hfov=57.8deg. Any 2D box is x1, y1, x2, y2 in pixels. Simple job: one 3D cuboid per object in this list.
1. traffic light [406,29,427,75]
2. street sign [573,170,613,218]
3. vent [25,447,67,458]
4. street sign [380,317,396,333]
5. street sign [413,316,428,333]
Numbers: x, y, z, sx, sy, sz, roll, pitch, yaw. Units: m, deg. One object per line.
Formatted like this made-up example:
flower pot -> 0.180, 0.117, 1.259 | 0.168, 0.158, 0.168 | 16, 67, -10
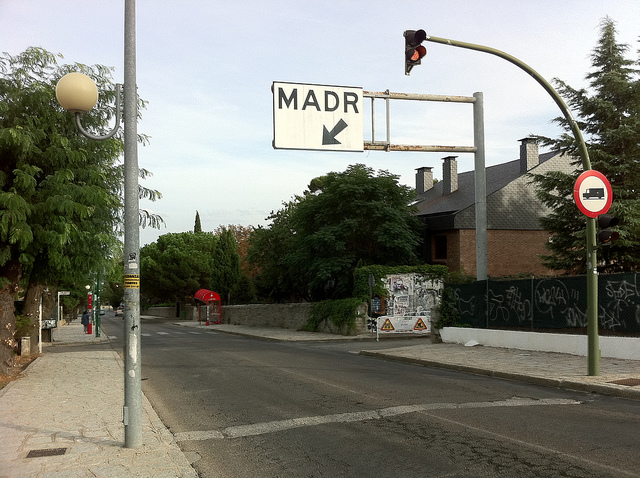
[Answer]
traffic light -> 2.386, -4.721, 14.370 | 0.503, 1.147, 0.530 | -1, -4, 9
street sign -> 7.059, -1.195, 14.975 | 0.947, 1.277, 0.375 | 1, -4, -10
vent -> -4.659, 3.619, 9.854 | 0.594, 0.057, 0.359 | 1, -6, -14
street sign -> 3.536, 4.494, 30.497 | 0.854, 0.809, 0.099 | 1, -9, -8
street sign -> 5.363, 4.617, 31.340 | 0.869, 0.825, 0.279 | 4, -6, -44
